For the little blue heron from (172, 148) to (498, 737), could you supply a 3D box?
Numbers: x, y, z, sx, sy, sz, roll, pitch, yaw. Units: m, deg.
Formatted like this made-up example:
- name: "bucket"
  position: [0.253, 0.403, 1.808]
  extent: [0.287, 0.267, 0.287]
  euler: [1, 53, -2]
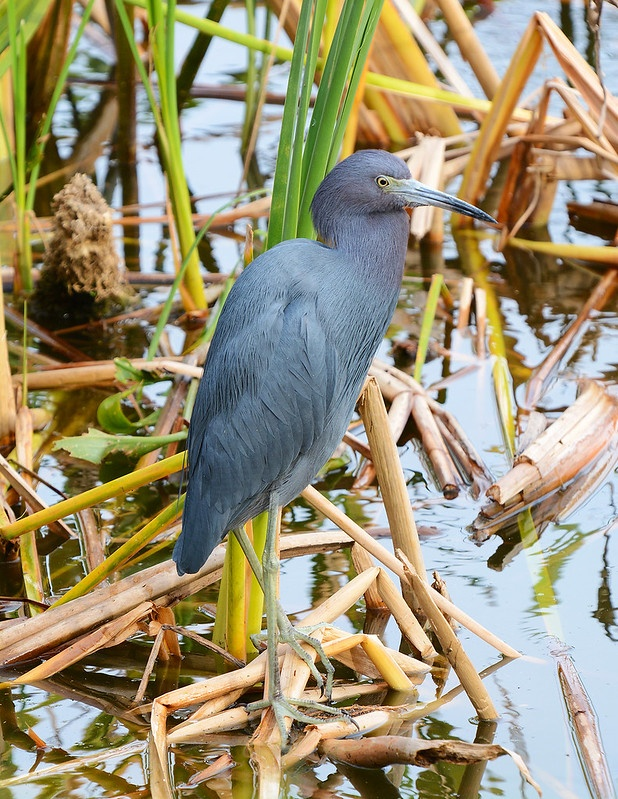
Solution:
- name: "little blue heron"
  position: [-0.015, 0.037, 1.991]
  extent: [0.521, 1.094, 0.738]
  euler: [15, 25, 7]
